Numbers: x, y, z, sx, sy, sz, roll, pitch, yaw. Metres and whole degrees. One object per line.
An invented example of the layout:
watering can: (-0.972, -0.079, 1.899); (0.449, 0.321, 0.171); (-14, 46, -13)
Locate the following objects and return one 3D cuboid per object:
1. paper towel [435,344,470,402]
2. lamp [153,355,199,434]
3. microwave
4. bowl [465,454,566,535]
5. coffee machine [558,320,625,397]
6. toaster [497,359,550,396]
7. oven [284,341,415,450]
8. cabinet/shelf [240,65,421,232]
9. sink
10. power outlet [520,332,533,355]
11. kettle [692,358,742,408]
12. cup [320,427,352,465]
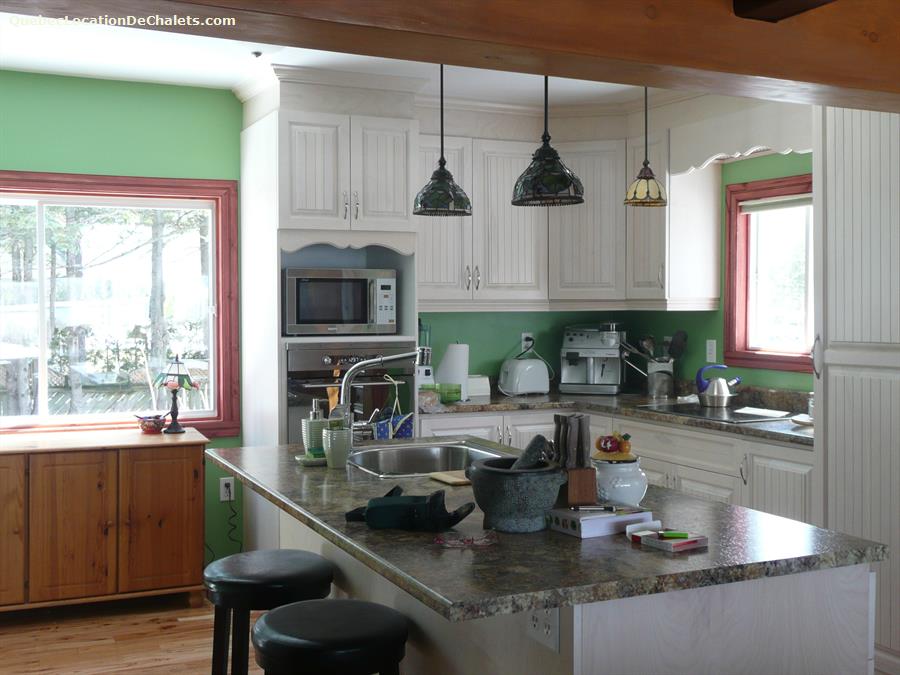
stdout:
paper towel: (0.027, 0.244, 4.921); (0.382, 0.364, 0.334); (2, -4, 4)
lamp: (-1.743, 0.353, 4.647); (0.239, 0.457, 0.464); (-1, 3, -18)
microwave: (-0.684, -0.205, 4.394); (0.722, 0.395, 0.409); (1, -3, -25)
bowl: (0.207, 0.457, 2.157); (0.322, 0.186, 0.308); (-9, -7, -1)
coffee machine: (1.137, 0.178, 5.269); (0.497, 0.566, 0.515); (-1, -4, 15)
toaster: (0.507, 0.283, 5.229); (0.385, 0.240, 0.262); (0, 3, -16)
oven: (-0.541, 0.387, 4.575); (0.816, 0.643, 0.520); (-2, -5, 14)
cabinet/shelf: (-0.735, -0.934, 4.671); (1.253, 1.194, 0.876); (0, -2, -23)
sink: (-0.091, 0.493, 3.142); (0.343, 0.150, 0.401); (0, 0, -26)
power outlet: (0.567, 0.053, 5.448); (0.114, 0.167, 0.053); (-1, 4, -11)
kettle: (1.673, 0.311, 4.665); (0.352, 0.264, 0.239); (-1, 4, -38)
cup: (-0.436, 0.432, 2.907); (0.141, 0.135, 0.135); (1, 0, 0)
